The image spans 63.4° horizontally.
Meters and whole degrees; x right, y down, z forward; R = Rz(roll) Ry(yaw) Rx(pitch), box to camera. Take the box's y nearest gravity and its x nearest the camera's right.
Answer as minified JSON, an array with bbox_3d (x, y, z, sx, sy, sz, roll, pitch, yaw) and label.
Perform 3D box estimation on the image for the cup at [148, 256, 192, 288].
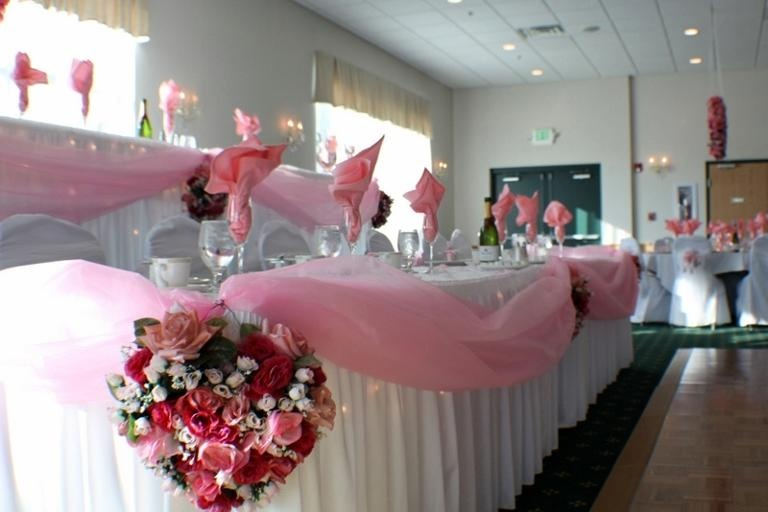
[{"bbox_3d":[-0.802,0.054,2.336,0.099,0.098,0.130,5,7,30],"label":"cup"}]
